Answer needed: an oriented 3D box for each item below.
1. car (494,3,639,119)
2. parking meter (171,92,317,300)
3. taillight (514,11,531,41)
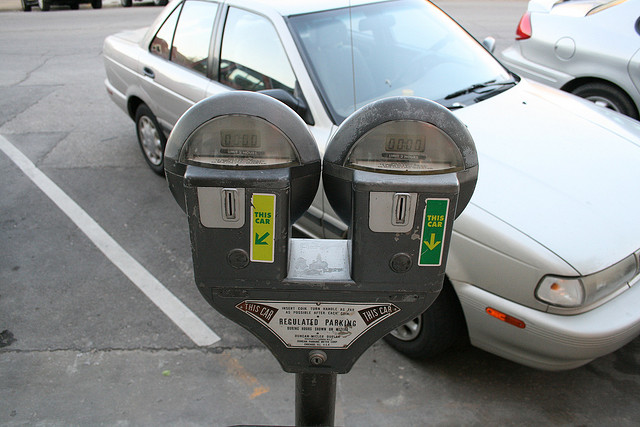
[{"bbox_3d":[2.754,-1.734,6.016,1.701,0.837,0.945,12,43,20],"label":"car"},{"bbox_3d":[-0.371,-0.075,2.685,0.714,0.860,0.512,-4,37,-1],"label":"parking meter"},{"bbox_3d":[2.274,-2.085,6.184,0.188,0.311,0.086,11,11,17],"label":"taillight"}]
